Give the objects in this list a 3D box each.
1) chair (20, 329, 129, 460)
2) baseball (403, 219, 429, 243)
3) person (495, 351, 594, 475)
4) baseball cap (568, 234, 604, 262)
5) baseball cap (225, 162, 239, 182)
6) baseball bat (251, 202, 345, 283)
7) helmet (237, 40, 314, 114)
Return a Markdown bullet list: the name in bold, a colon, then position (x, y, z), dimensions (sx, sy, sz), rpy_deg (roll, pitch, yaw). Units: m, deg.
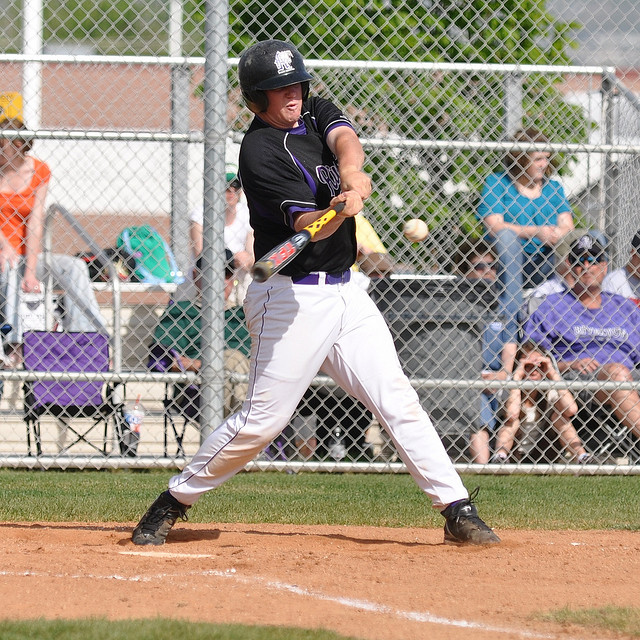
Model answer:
- **chair**: position (-1.470, 0.395, 7.089), dimensions (0.760, 0.677, 0.620), rpy_deg (2, 29, 3)
- **baseball**: position (0.532, -0.500, 6.949), dimensions (0.145, 0.115, 0.127), rpy_deg (-3, -22, -21)
- **person**: position (1.297, 0.535, 7.227), dimensions (0.560, 0.701, 0.619), rpy_deg (1, 6, 5)
- **baseball cap**: position (1.554, -0.417, 7.236), dimensions (0.132, 0.045, 0.186), rpy_deg (-7, -25, 9)
- **baseball cap**: position (-0.558, -0.931, 7.728), dimensions (0.093, 0.084, 0.238), rpy_deg (-1, -6, -1)
- **baseball bat**: position (-0.076, -0.312, 4.967), dimensions (0.644, 0.088, 0.074), rpy_deg (-32, -4, -38)
- **helmet**: position (-0.189, -1.005, 5.116), dimensions (0.267, 0.243, 0.355), rpy_deg (-23, 26, -32)
